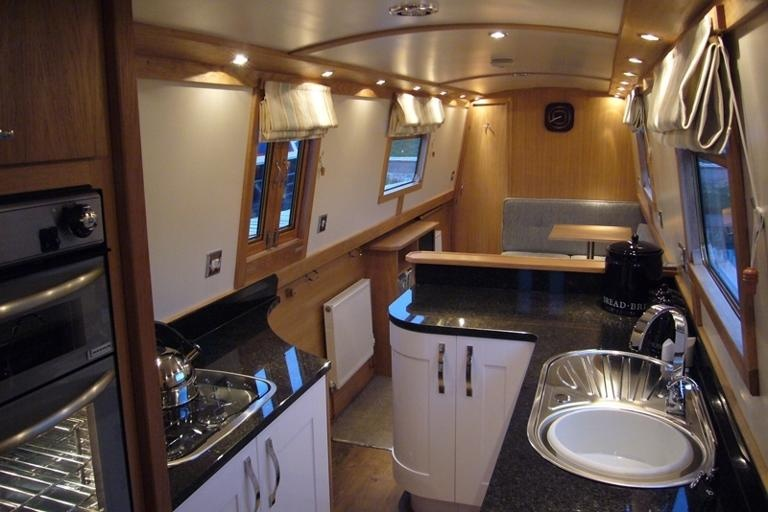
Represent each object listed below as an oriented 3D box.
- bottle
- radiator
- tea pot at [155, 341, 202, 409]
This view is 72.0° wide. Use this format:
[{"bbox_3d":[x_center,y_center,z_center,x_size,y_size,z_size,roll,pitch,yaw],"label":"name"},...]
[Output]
[{"bbox_3d":[1.375,0.108,2.956,0.282,0.461,0.181,6,12,24],"label":"bottle"},{"bbox_3d":[-0.320,0.671,4.650,0.154,0.842,0.967,3,12,22],"label":"radiator"},{"bbox_3d":[-0.899,0.529,2.321,0.150,0.236,0.154,1,11,0],"label":"tea pot"}]
